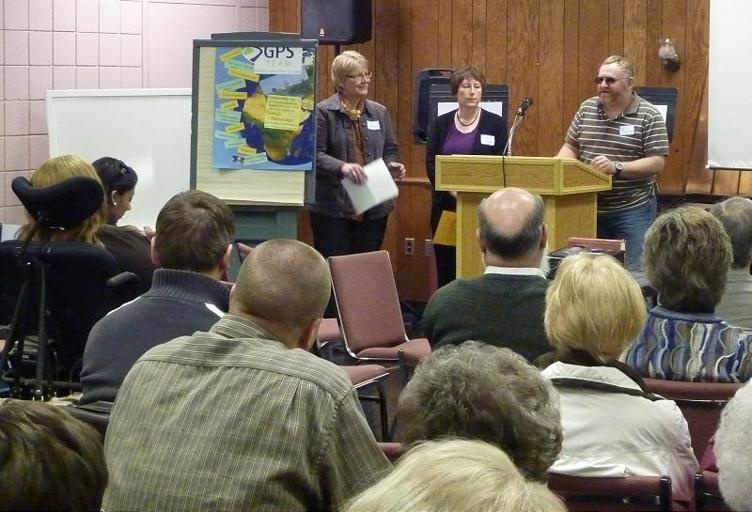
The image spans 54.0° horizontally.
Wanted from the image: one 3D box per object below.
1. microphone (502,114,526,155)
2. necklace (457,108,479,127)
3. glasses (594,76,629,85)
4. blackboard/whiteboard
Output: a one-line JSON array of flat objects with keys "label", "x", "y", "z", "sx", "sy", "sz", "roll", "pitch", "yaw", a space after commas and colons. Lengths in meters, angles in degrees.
[{"label": "microphone", "x": 1.061, "y": -0.921, "z": 5.635, "sx": 0.167, "sy": 0.076, "sz": 0.495, "roll": -25, "pitch": 10, "yaw": 9}, {"label": "necklace", "x": 0.655, "y": -0.974, "z": 5.229, "sx": 0.175, "sy": 0.106, "sz": 0.091, "roll": 1, "pitch": 10, "yaw": 6}, {"label": "glasses", "x": 1.515, "y": -1.156, "z": 4.862, "sx": 0.072, "sy": 0.053, "sz": 0.177, "roll": -4, "pitch": 13, "yaw": -20}, {"label": "blackboard/whiteboard", "x": -1.472, "y": -0.557, "z": 4.189, "sx": 0.812, "sy": 0.954, "sz": 0.040, "roll": 0, "pitch": 4, "yaw": 0}]
